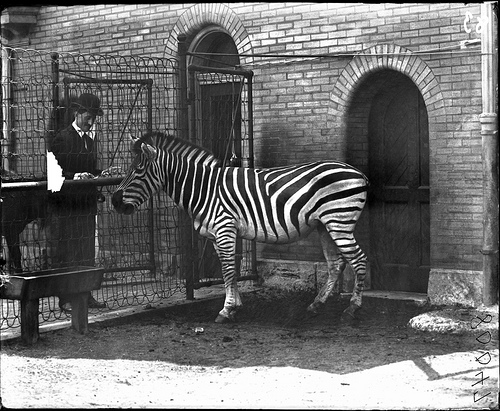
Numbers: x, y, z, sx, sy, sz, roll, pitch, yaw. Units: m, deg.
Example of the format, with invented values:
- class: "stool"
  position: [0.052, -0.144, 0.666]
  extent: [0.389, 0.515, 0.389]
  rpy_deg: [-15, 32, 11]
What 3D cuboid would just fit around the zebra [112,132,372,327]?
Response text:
- class: "zebra"
  position: [-0.045, 0.236, 8.024]
  extent: [2.635, 2.035, 0.623]
  rpy_deg: [1, 9, 14]
